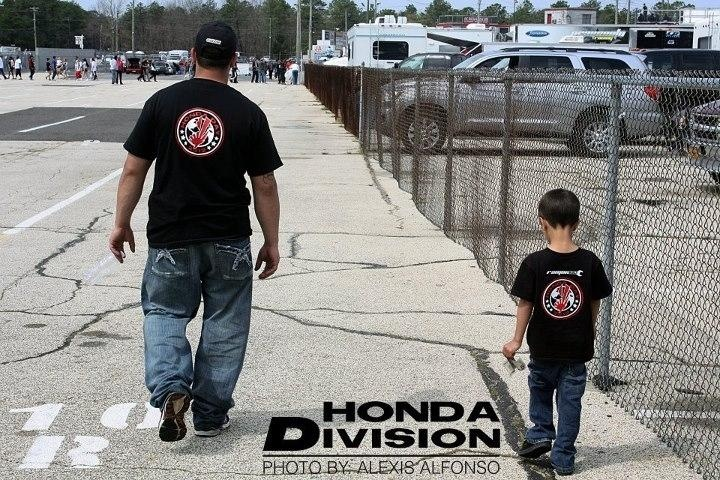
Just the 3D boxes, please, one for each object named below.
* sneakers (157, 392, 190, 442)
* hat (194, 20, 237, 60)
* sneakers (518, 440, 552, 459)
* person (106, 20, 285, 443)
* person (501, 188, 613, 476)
[{"bbox_3d":[-1.047,0.976,3.833,0.146,0.283,0.136,8,-1,-23],"label":"sneakers"},{"bbox_3d":[-0.861,-1.176,4.019,0.253,0.231,0.252,-3,14,-9],"label":"hat"},{"bbox_3d":[1.014,1.209,3.926,0.085,0.091,0.217,5,-15,-19],"label":"sneakers"},{"bbox_3d":[-0.926,0.004,3.971,0.985,2.479,0.781,-7,15,-21],"label":"person"},{"bbox_3d":[1.125,0.521,3.857,0.542,1.586,0.411,4,15,19],"label":"person"}]
